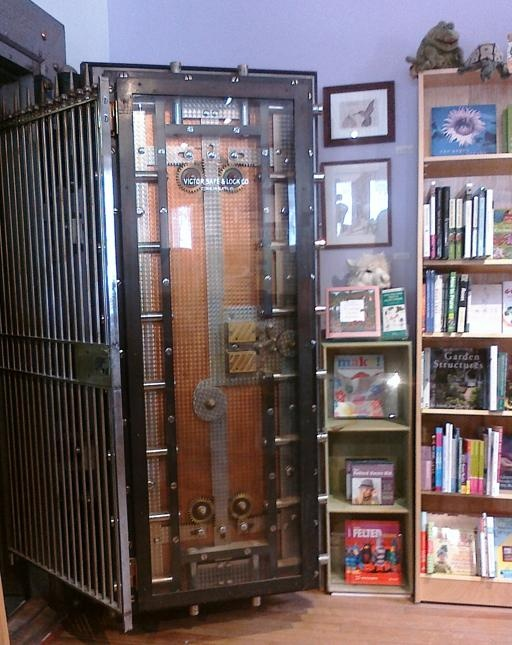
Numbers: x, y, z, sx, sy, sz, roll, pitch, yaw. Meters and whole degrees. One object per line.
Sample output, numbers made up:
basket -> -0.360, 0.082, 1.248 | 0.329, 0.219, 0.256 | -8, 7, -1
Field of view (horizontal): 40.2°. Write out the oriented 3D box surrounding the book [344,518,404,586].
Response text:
book -> 0.486, 0.952, 2.860 | 0.271, 0.302, 0.035 | 0, -8, 2

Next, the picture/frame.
picture/frame -> 0.430, -0.478, 2.893 | 0.293, 1.020, 0.197 | 4, 8, 43

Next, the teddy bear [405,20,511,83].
teddy bear -> 0.781, -1.014, 2.716 | 0.347, 0.213, 0.214 | 3, 13, 36

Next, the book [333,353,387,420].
book -> 0.436, 0.269, 2.871 | 0.276, 0.344, 0.036 | 1, -3, 0

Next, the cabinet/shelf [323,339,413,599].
cabinet/shelf -> 0.498, 0.596, 2.983 | 0.410, 1.038, 0.273 | 0, 8, 23

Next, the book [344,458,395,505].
book -> 0.465, 0.653, 2.847 | 0.179, 0.163, 0.063 | 1, -2, 2
